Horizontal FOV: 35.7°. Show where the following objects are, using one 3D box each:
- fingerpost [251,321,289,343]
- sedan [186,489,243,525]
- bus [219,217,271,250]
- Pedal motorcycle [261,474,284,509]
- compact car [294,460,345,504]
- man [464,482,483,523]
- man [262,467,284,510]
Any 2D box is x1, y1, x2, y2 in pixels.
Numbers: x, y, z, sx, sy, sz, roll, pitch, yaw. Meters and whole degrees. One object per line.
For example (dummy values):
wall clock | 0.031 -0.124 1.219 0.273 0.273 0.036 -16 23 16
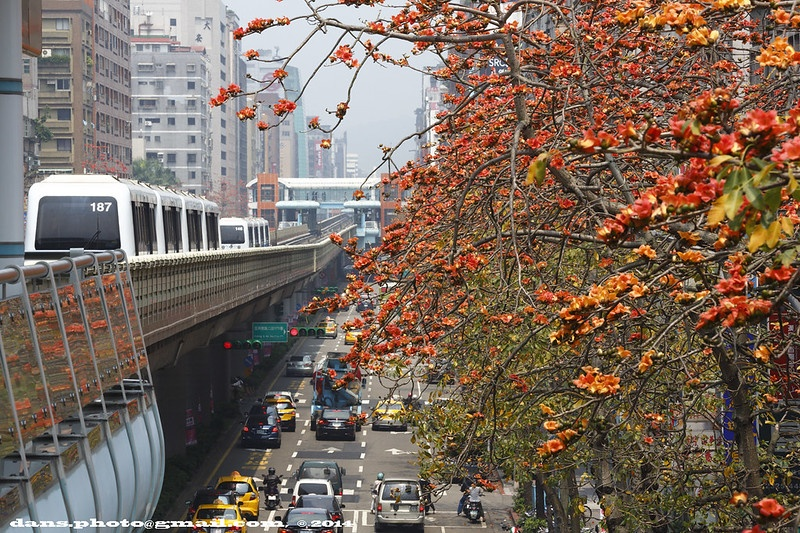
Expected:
fingerpost | -5.358 2.531 50.929 1.317 0.784 0.027 0 -1 17
sedan | -4.878 6.119 32.357 0.727 0.596 1.210 1 1 -4
bus | -8.071 -1.864 63.672 1.296 1.371 5.095 0 0 4
Pedal motorcycle | -3.776 6.621 37.926 0.498 0.662 1.059 -1 -16 -32
compact car | -2.368 6.368 37.937 0.964 0.825 1.594 0 6 -2
man | 2.310 7.018 38.284 0.631 0.871 1.717 3 7 2
man | -3.988 6.758 38.515 0.938 1.201 1.967 -1 -5 -10
